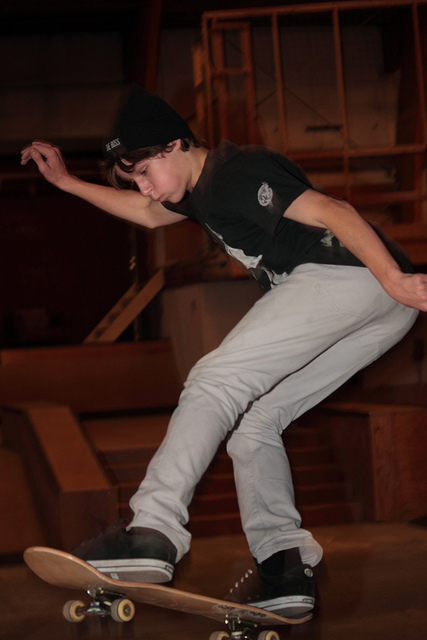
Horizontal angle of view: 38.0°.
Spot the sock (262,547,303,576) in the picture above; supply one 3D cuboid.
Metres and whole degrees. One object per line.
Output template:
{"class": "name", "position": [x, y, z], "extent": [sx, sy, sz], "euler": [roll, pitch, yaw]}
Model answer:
{"class": "sock", "position": [0.186, 0.655, 1.679], "extent": [0.107, 0.067, 0.014], "euler": [-2, -15, -6]}

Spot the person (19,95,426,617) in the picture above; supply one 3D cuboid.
{"class": "person", "position": [0.070, 0.098, 1.789], "extent": [1.047, 1.469, 0.625], "euler": [-6, -15, 11]}
